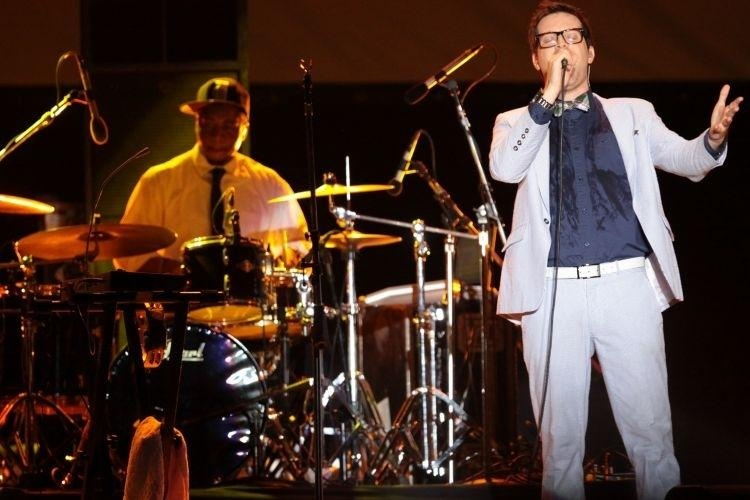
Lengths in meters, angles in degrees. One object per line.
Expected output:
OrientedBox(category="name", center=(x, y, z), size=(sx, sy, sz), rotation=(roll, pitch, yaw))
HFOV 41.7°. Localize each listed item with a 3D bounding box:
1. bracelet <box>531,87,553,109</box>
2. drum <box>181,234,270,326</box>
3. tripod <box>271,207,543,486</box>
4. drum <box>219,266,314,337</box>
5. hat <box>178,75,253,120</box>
OrientedBox(category="bracelet", center=(0.949, -0.864, 5.633), size=(0.089, 0.121, 0.073), rotation=(1, 15, 0))
OrientedBox(category="drum", center=(-0.998, 0.242, 6.840), size=(0.592, 0.663, 0.604), rotation=(-4, -5, 40))
OrientedBox(category="tripod", center=(0.497, 0.730, 7.578), size=(1.618, 2.372, 1.803), rotation=(-1, 0, 12))
OrientedBox(category="drum", center=(-0.751, 0.329, 6.898), size=(0.261, 0.631, 0.482), rotation=(-9, -2, -33))
OrientedBox(category="hat", center=(-1.288, -1.247, 8.038), size=(0.482, 0.256, 0.313), rotation=(9, -6, -15))
